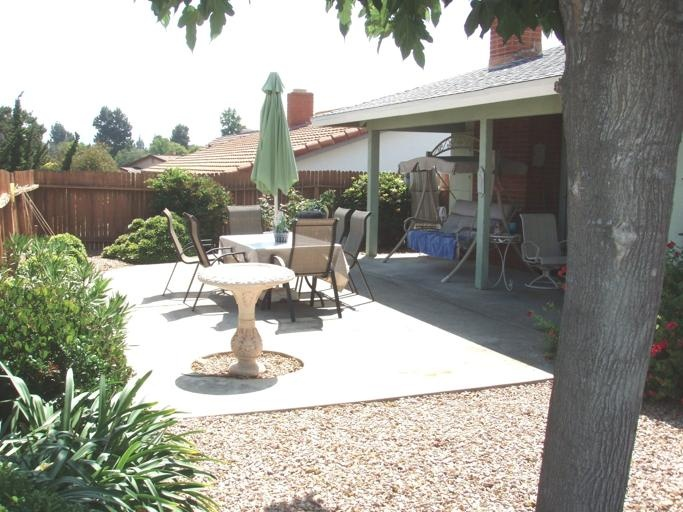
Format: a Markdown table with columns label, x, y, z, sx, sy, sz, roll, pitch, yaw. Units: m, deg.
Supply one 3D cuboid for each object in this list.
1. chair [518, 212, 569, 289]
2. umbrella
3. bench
| label | x | y | z | sx | sy | sz | roll | pitch | yaw |
| --- | --- | --- | --- | --- | --- | --- | --- | --- | --- |
| chair | 3.380 | -0.117 | 9.603 | 0.692 | 1.162 | 0.791 | -3 | 7 | -15 |
| umbrella | -1.075 | -1.795 | 9.036 | 0.691 | 2.041 | 0.346 | -2 | 8 | -1 |
| bench | 2.196 | -0.531 | 11.148 | 1.377 | 1.086 | 1.782 | 2 | 7 | -20 |
